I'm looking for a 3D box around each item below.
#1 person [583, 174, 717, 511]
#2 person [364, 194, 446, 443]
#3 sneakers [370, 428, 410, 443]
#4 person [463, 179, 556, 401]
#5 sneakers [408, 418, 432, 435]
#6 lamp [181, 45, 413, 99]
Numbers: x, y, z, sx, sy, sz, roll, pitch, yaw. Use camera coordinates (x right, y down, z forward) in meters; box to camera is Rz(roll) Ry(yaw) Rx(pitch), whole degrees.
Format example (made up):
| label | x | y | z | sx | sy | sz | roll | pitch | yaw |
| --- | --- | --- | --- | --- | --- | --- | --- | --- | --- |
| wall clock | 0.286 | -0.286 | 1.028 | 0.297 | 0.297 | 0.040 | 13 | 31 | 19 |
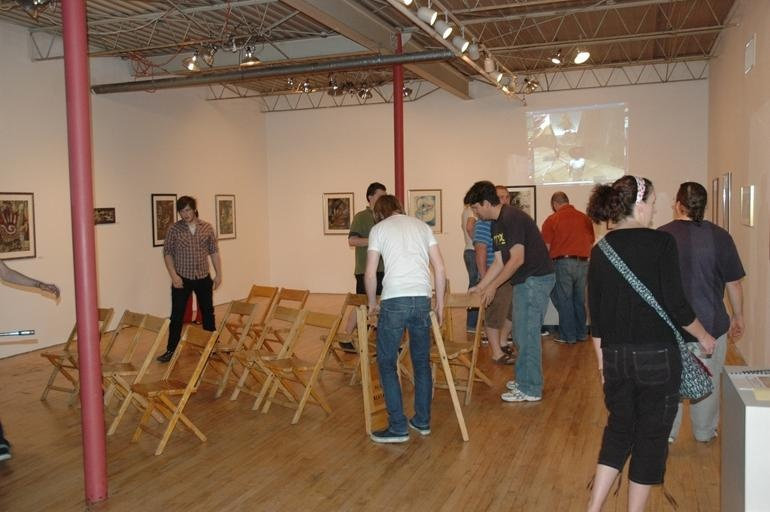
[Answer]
| label | x | y | z | sx | sy | sz | roll | pitch | yaw |
| --- | --- | --- | --- | --- | --- | --- | --- | --- | --- |
| person | 1.937 | 0.884 | 4.528 | 0.769 | 2.176 | 0.440 | 2 | 9 | 20 |
| person | 0.212 | 0.698 | 6.102 | 0.799 | 2.415 | 0.471 | -1 | 9 | -1 |
| sneakers | 0.044 | 1.867 | 6.120 | 0.345 | 0.153 | 0.159 | 4 | -2 | 7 |
| person | 1.471 | 0.372 | 6.930 | 0.999 | 2.541 | 0.772 | -3 | -5 | 18 |
| sneakers | 0.374 | 1.807 | 6.312 | 0.100 | 0.122 | 0.271 | -5 | 13 | -31 |
| lamp | -1.546 | -3.259 | 10.274 | 4.319 | 0.324 | 0.435 | 2 | 10 | 16 |
